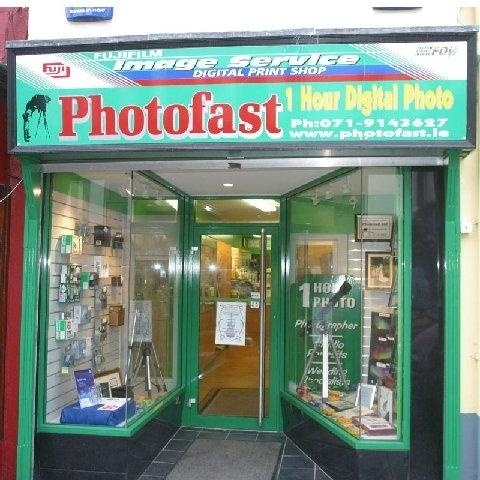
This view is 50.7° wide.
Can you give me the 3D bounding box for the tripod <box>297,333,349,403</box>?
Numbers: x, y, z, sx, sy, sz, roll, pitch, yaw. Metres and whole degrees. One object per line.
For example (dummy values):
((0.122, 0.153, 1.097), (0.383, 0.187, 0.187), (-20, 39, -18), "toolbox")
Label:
((0.735, 1.049, 4.313), (0.390, 0.588, 0.378), (0, 10, 10), "tripod")
